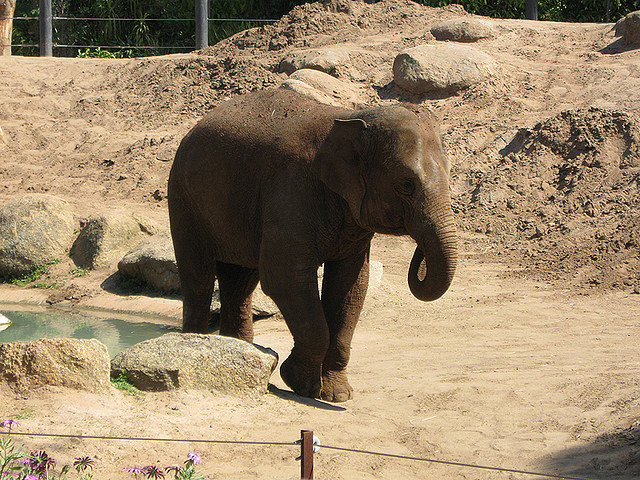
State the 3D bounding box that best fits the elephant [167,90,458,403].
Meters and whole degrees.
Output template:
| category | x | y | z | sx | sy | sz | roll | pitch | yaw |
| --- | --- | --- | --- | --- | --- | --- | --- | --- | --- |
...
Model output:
| category | x | y | z | sx | sy | sz | roll | pitch | yaw |
| --- | --- | --- | --- | --- | --- | --- | --- | --- | --- |
| elephant | -0.073 | 0.135 | 14.714 | 4.435 | 3.665 | 1.731 | 10 | 10 | 40 |
